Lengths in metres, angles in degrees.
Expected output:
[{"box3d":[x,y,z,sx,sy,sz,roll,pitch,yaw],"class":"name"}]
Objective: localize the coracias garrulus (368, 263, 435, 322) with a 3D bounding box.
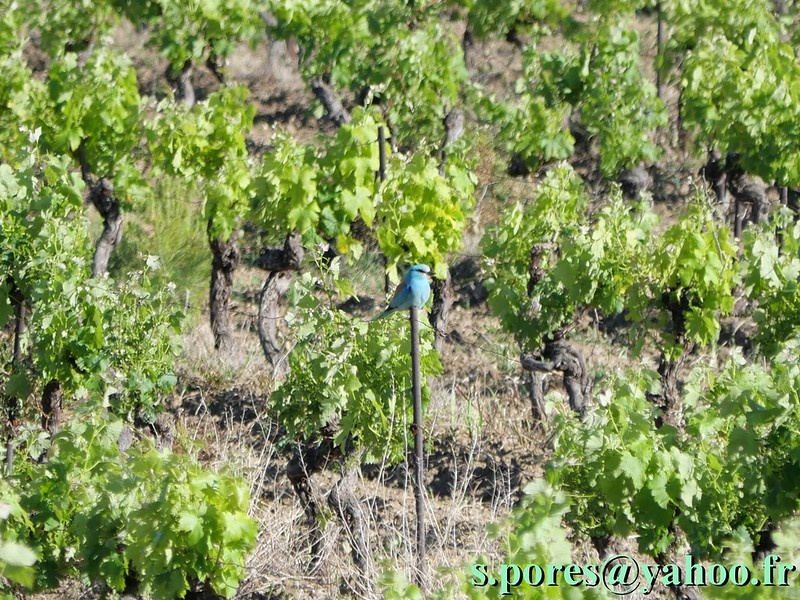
[{"box3d":[0.062,-0.061,13.842,0.428,0.285,0.482,-4,74,31],"class":"coracias garrulus"}]
